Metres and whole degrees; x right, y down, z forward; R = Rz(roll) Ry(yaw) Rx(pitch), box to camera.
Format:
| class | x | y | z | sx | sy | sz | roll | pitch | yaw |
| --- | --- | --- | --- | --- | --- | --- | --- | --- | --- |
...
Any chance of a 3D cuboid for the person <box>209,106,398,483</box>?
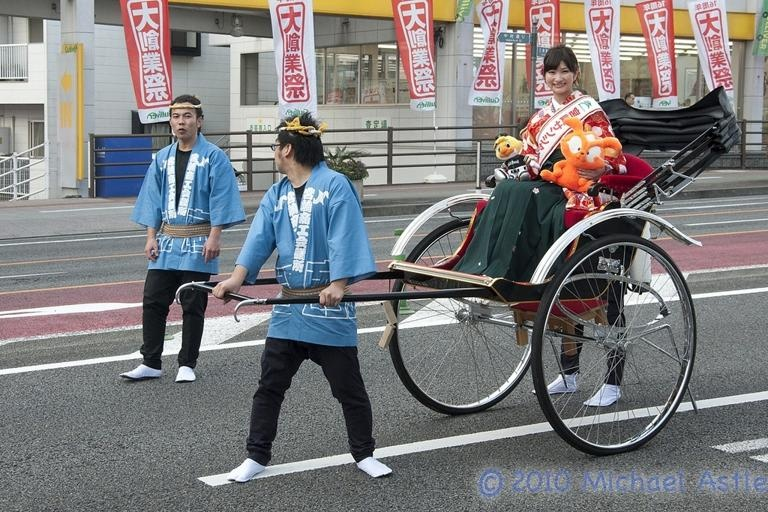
| class | x | y | z | sx | sy | sz | roll | pitch | yaw |
| --- | --- | --- | --- | --- | --- | --- | --- | --- | --- |
| person | -0.512 | 0.238 | 3.910 | 1.018 | 2.277 | 0.759 | -1 | 13 | -1 |

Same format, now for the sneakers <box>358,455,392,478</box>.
| class | x | y | z | sx | sy | sz | roll | pitch | yaw |
| --- | --- | --- | --- | --- | --- | --- | --- | --- | --- |
| sneakers | -0.049 | 1.346 | 3.877 | 0.113 | 0.055 | 0.197 | -17 | 14 | -33 |

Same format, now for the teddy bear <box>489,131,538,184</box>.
| class | x | y | z | sx | sy | sz | roll | pitch | yaw |
| --- | --- | --- | --- | --- | --- | --- | --- | --- | --- |
| teddy bear | 1.028 | -0.800 | 4.964 | 0.329 | 0.366 | 0.362 | -19 | 13 | -31 |

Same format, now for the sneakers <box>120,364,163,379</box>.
| class | x | y | z | sx | sy | sz | roll | pitch | yaw |
| --- | --- | --- | --- | --- | --- | --- | --- | --- | --- |
| sneakers | -2.211 | 1.047 | 5.590 | 0.363 | 0.127 | 0.133 | 3 | -3 | -22 |

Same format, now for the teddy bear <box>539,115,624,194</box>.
| class | x | y | z | sx | sy | sz | roll | pitch | yaw |
| --- | --- | --- | --- | --- | --- | --- | --- | --- | --- |
| teddy bear | 1.458 | -0.758 | 4.534 | 0.525 | 0.550 | 0.449 | -12 | 17 | -43 |

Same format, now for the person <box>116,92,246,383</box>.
| class | x | y | z | sx | sy | sz | roll | pitch | yaw |
| --- | --- | --- | --- | --- | --- | --- | --- | --- | --- |
| person | -1.893 | -0.241 | 5.614 | 1.548 | 2.732 | 0.947 | 2 | -2 | 12 |

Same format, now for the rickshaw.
| class | x | y | z | sx | sy | sz | roll | pitch | yaw |
| --- | --- | --- | --- | --- | --- | --- | --- | --- | --- |
| rickshaw | 1.007 | 0.019 | 5.335 | 4.906 | 2.722 | 2.390 | -2 | 10 | -25 |

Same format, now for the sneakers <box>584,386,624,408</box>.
| class | x | y | z | sx | sy | sz | roll | pitch | yaw |
| --- | --- | --- | --- | --- | --- | --- | --- | --- | --- |
| sneakers | 1.718 | 1.097 | 4.811 | 0.286 | 0.098 | 0.140 | -4 | 4 | -26 |

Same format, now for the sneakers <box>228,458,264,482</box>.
| class | x | y | z | sx | sy | sz | roll | pitch | yaw |
| --- | --- | --- | --- | --- | --- | --- | --- | --- | --- |
| sneakers | -0.859 | 1.348 | 3.854 | 0.126 | 0.076 | 0.213 | 7 | 6 | 38 |
